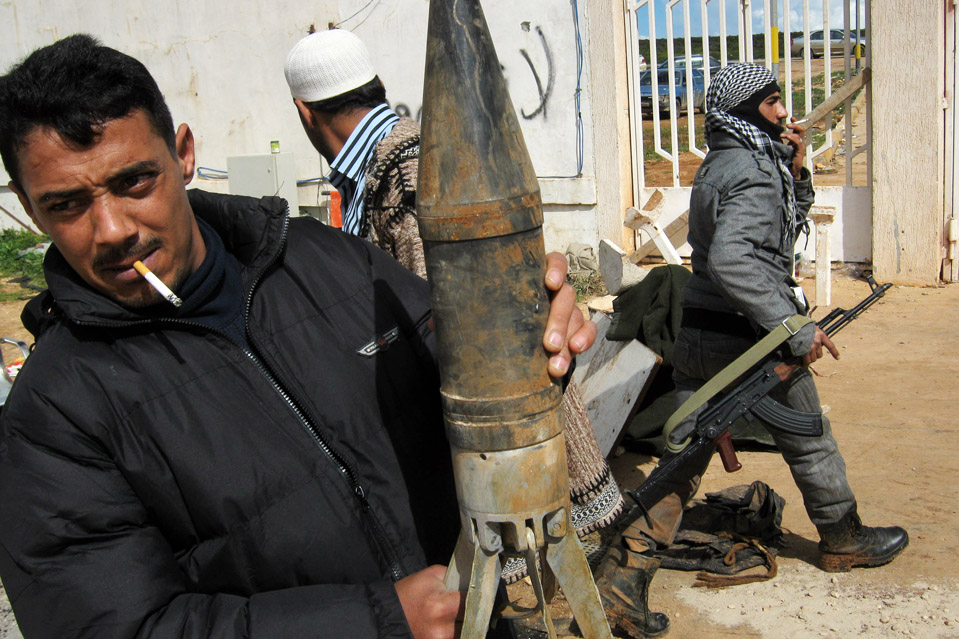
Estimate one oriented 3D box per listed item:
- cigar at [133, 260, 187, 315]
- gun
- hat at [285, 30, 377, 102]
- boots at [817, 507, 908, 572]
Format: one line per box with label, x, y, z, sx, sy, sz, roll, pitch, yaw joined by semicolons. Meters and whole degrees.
cigar;-0.935;-0.089;2.533;0.051;0.251;0.042;-45;9;-27
gun;1.529;0.576;5.073;2.279;0.763;0.188;-41;5;-11
hat;-0.724;-1.211;4.040;0.330;0.220;0.372;-30;35;-18
boots;2.083;1.218;4.622;0.319;0.261;0.152;-20;36;1
